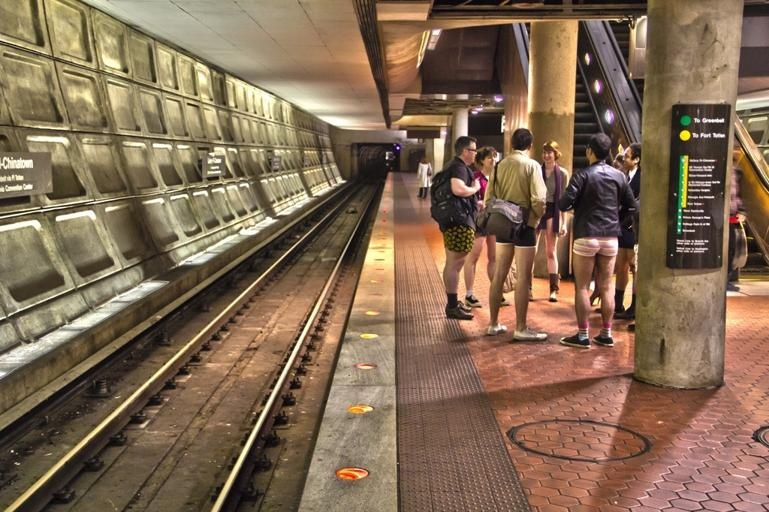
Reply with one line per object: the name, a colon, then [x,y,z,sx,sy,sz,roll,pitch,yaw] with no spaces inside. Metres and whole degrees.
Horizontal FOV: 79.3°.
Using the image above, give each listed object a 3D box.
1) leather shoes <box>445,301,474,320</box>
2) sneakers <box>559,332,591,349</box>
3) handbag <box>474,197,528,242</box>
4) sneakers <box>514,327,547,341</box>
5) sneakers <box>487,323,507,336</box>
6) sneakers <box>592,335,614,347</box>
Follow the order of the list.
leather shoes: [0.996,0.742,6.347,0.325,0.089,0.277,-1,4,0]
sneakers: [2.196,0.970,5.395,0.369,0.120,0.152,6,6,31]
handbag: [1.441,-0.494,5.434,0.644,0.504,0.362,22,24,34]
sneakers: [1.789,0.932,5.600,0.475,0.134,0.146,-1,5,-1]
sneakers: [1.419,0.907,5.788,0.299,0.089,0.113,-6,9,-38]
sneakers: [2.539,0.977,5.401,0.115,0.076,0.229,0,6,-9]
